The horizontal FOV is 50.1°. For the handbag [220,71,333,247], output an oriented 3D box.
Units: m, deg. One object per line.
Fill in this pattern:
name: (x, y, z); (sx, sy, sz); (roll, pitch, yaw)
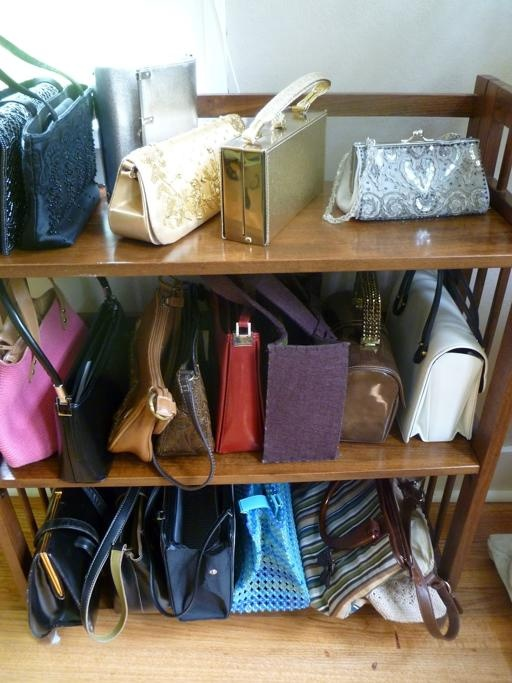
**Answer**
handbag: (0.033, -0.259, 0.797); (0.078, 0.228, 0.270); (15, 42, 20)

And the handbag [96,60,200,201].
handbag: (-0.150, -0.295, 0.763); (0.068, 0.194, 0.150); (18, 40, 22)

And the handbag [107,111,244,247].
handbag: (-0.089, -0.244, 0.809); (0.084, 0.137, 0.304); (20, 42, 30)
